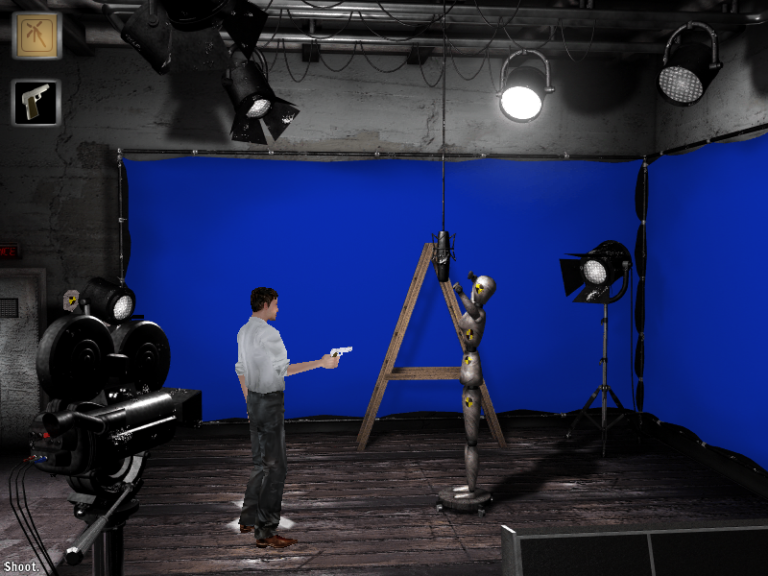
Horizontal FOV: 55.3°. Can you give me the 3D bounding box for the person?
[{"bbox_3d":[-0.926,0.998,6.086,0.553,2.056,0.579,-8,12,-35],"label":"person"}]
